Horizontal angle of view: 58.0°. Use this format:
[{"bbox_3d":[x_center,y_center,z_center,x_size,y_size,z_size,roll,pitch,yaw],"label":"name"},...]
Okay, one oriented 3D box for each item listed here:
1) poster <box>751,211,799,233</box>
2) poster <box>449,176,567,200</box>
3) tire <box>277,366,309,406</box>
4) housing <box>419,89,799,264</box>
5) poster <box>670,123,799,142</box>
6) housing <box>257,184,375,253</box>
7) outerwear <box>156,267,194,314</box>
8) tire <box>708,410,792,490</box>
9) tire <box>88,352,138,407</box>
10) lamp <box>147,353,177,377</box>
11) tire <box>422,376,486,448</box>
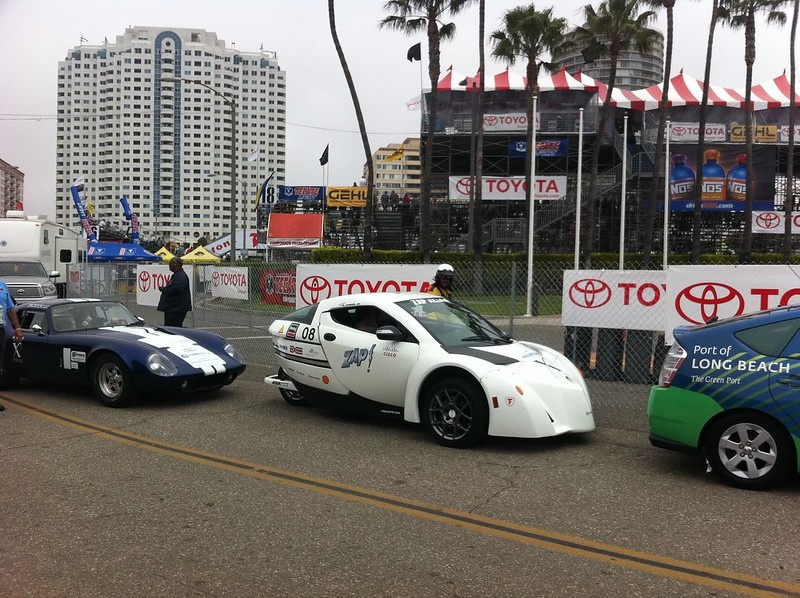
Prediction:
[{"bbox_3d":[19.421,-4.044,37.665,2.830,1.204,0.980,-2,9,-12],"label":"poster"},{"bbox_3d":[5.546,-5.721,37.108,5.814,1.264,1.643,2,9,14],"label":"poster"},{"bbox_3d":[-1.497,1.203,10.135,0.553,0.595,0.224,4,1,18],"label":"tire"},{"bbox_3d":[12.793,-7.032,38.715,22.862,8.772,12.482,-1,9,-8],"label":"housing"},{"bbox_3d":[17.299,-8.776,37.790,3.791,0.787,0.097,1,21,-5],"label":"poster"},{"bbox_3d":[-2.699,-5.133,44.289,12.253,3.687,4.477,1,8,5],"label":"housing"},{"bbox_3d":[-4.235,-0.211,13.797,0.653,0.895,0.895,4,1,-10],"label":"outerwear"},{"bbox_3d":[3.528,1.493,7.256,0.606,0.636,0.219,27,17,28],"label":"tire"},{"bbox_3d":[-4.074,1.134,10.213,0.859,0.757,0.179,6,10,33],"label":"tire"},{"bbox_3d":[-3.321,0.914,9.989,0.367,0.149,0.272,34,45,23],"label":"lamp"},{"bbox_3d":[0.651,1.319,8.470,0.643,0.678,0.221,-21,-16,33],"label":"tire"}]
